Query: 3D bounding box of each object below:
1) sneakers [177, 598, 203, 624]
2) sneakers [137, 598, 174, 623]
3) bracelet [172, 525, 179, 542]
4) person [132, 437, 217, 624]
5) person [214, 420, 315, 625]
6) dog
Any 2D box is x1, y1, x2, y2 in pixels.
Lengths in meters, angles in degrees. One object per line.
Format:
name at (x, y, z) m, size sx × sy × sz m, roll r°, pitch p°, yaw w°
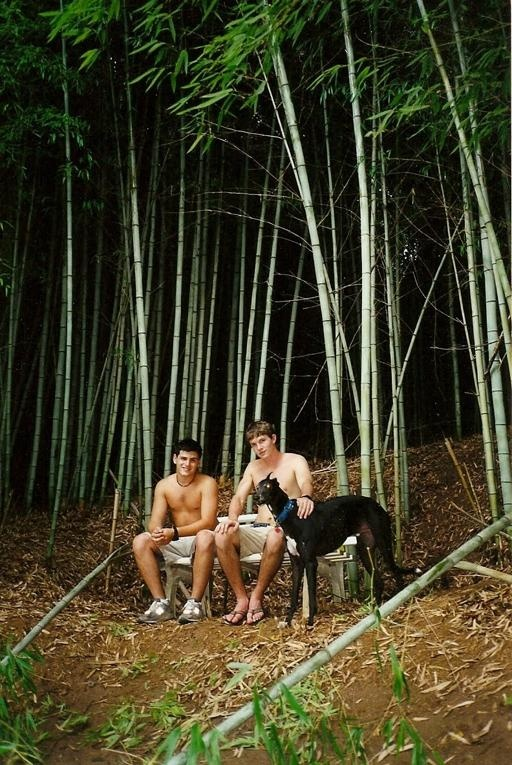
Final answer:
sneakers at (-0.257, 0.890, 2.324) m, size 0.051 × 0.056 × 0.124 m, roll -1°, pitch -13°, yaw 4°
sneakers at (-0.403, 0.930, 2.460) m, size 0.056 × 0.068 × 0.146 m, roll -2°, pitch -4°, yaw 33°
bracelet at (-0.335, 0.641, 2.546) m, size 0.041 × 0.081 × 0.017 m, roll 1°, pitch -8°, yaw -16°
person at (-0.337, 0.612, 2.569) m, size 0.348 × 0.737 × 0.472 m, roll 2°, pitch -6°, yaw -4°
person at (0.077, 0.554, 2.475) m, size 0.392 × 0.794 × 0.423 m, roll -4°, pitch -10°, yaw 27°
dog at (0.283, 0.616, 2.251) m, size 0.608 × 0.507 × 0.269 m, roll 5°, pitch -7°, yaw -27°
